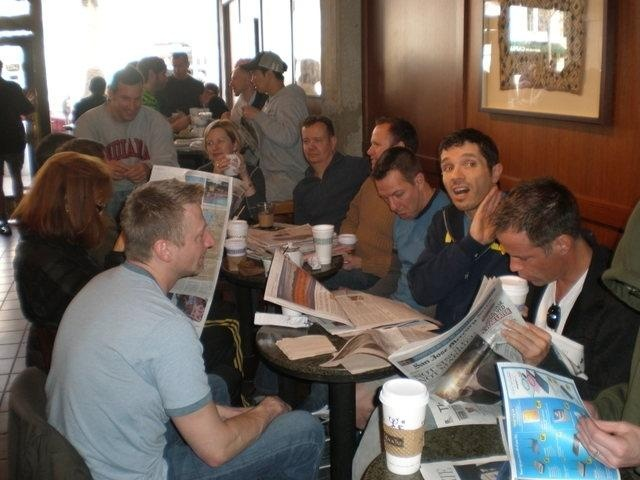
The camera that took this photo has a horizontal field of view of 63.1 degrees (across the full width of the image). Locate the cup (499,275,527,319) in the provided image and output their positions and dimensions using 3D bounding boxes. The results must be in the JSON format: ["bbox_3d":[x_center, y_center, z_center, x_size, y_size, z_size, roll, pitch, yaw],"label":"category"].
[{"bbox_3d":[0.610,0.182,1.664,0.092,0.105,0.094,-15,19,5],"label":"cup"}]

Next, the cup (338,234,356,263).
[{"bbox_3d":[0.163,0.051,3.166,0.110,0.189,0.119,-1,13,0],"label":"cup"}]

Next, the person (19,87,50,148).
[{"bbox_3d":[-3.465,-1.544,6.426,0.213,0.865,0.242,-4,-26,-31],"label":"person"}]

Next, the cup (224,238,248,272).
[{"bbox_3d":[-0.434,0.086,2.937,0.168,0.219,0.150,1,-2,-7],"label":"cup"}]

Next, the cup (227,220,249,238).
[{"bbox_3d":[-0.476,-0.070,3.008,0.093,0.089,0.098,1,15,0],"label":"cup"}]

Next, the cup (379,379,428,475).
[{"bbox_3d":[0.226,0.489,1.420,0.122,0.235,0.172,3,14,12],"label":"cup"}]

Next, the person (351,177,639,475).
[{"bbox_3d":[0.663,0.078,2.423,0.918,1.802,0.891,0,13,2],"label":"person"}]

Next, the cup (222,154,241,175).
[{"bbox_3d":[-0.631,-0.569,3.879,0.151,0.147,0.124,18,23,36],"label":"cup"}]

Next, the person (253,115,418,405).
[{"bbox_3d":[-0.158,-0.106,3.989,0.955,1.750,0.857,17,4,12],"label":"person"}]

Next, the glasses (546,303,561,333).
[{"bbox_3d":[0.857,0.287,1.925,0.024,0.097,0.052,8,3,-28],"label":"glasses"}]

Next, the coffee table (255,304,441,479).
[{"bbox_3d":[0.066,0.591,2.268,0.641,0.755,0.671,-2,8,-15],"label":"coffee table"}]

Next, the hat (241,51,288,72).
[{"bbox_3d":[-0.507,-1.673,5.041,0.351,0.217,0.241,8,33,-3],"label":"hat"}]

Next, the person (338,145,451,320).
[{"bbox_3d":[0.442,0.013,2.870,0.595,0.940,0.657,-3,1,26],"label":"person"}]

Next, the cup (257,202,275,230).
[{"bbox_3d":[-0.374,-0.170,3.515,0.141,0.255,0.156,-2,9,-9],"label":"cup"}]
